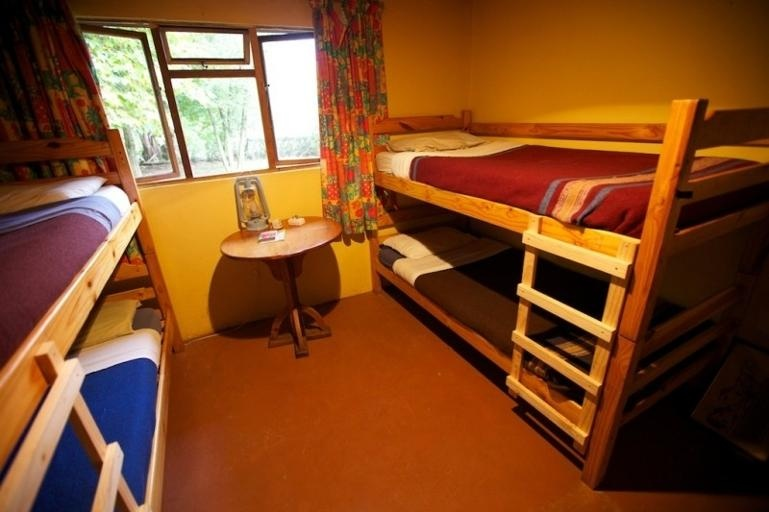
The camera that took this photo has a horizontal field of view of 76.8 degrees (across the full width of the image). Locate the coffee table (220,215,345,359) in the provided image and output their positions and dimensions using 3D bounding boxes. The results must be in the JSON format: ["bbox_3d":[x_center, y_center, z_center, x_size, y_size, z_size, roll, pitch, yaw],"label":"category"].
[{"bbox_3d":[-0.763,0.259,3.919,0.926,0.945,0.712,-11,23,-18],"label":"coffee table"}]

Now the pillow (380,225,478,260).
[{"bbox_3d":[0.444,-0.126,4.356,0.613,0.123,0.370,-11,26,-24],"label":"pillow"}]

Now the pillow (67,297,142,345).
[{"bbox_3d":[-1.901,0.443,3.285,0.278,0.066,0.285,-12,37,-13],"label":"pillow"}]
